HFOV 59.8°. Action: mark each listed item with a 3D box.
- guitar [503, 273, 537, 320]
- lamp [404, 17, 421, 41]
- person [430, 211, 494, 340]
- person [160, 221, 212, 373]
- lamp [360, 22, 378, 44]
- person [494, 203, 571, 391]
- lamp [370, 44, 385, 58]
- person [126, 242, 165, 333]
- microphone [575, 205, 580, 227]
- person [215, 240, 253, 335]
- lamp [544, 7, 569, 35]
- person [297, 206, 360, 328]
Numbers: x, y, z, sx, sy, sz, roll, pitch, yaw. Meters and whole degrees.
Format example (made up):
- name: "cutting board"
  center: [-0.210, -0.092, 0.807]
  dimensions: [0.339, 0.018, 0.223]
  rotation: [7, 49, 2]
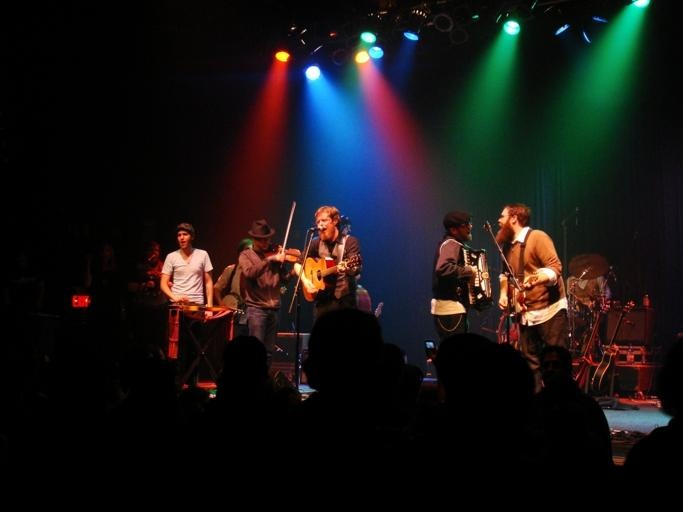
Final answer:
- name: "guitar"
  center: [1.992, 0.461, 6.765]
  dimensions: [0.329, 0.166, 0.699]
  rotation: [14, 15, 13]
- name: "lamp"
  center: [1.086, -3.462, 8.984]
  dimensions: [0.244, 0.281, 0.231]
  rotation: [7, -7, -27]
- name: "person"
  center: [1.399, 0.201, 6.960]
  dimensions: [0.674, 1.530, 0.457]
  rotation: [-1, -8, 8]
- name: "person"
  center: [-2.038, 0.520, 7.778]
  dimensions: [0.681, 1.994, 0.904]
  rotation: [3, -8, -19]
- name: "lamp"
  center: [0.412, -3.451, 9.281]
  dimensions: [0.276, 0.121, 0.462]
  rotation: [0, -8, 4]
- name: "person"
  center: [2.104, 0.411, 6.639]
  dimensions: [0.747, 2.103, 0.544]
  rotation: [-4, -9, 31]
- name: "lamp"
  center: [0.582, -3.444, 10.021]
  dimensions: [0.130, 0.151, 0.135]
  rotation: [2, -7, -21]
- name: "person"
  center: [-2.533, 0.612, 7.909]
  dimensions: [0.440, 1.542, 0.416]
  rotation: [-1, -1, -17]
- name: "microphone"
  center: [4.336, -0.727, 10.897]
  dimensions: [0.075, 0.335, 0.067]
  rotation: [-2, -8, 17]
- name: "person"
  center: [-1.668, 0.420, 8.804]
  dimensions: [0.522, 1.488, 0.203]
  rotation: [1, -7, 7]
- name: "lamp"
  center: [3.113, -3.368, 8.507]
  dimensions: [0.321, 0.206, 0.529]
  rotation: [-3, -9, 22]
- name: "person"
  center: [0.002, 0.103, 7.685]
  dimensions: [0.601, 1.423, 0.222]
  rotation: [6, 7, 30]
